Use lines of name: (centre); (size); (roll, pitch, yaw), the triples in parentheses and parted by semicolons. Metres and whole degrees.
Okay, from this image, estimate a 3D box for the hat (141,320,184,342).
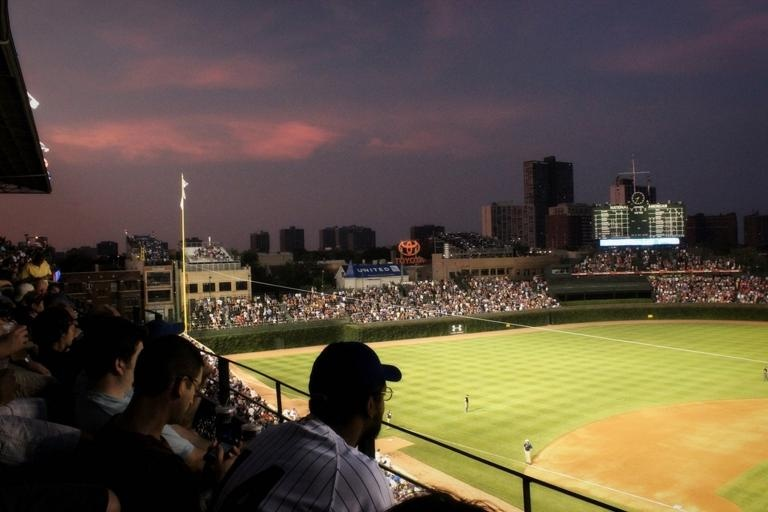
hat: (-3.756, 1.219, 11.824); (0.445, 0.294, 1.269); (-1, 4, 3)
